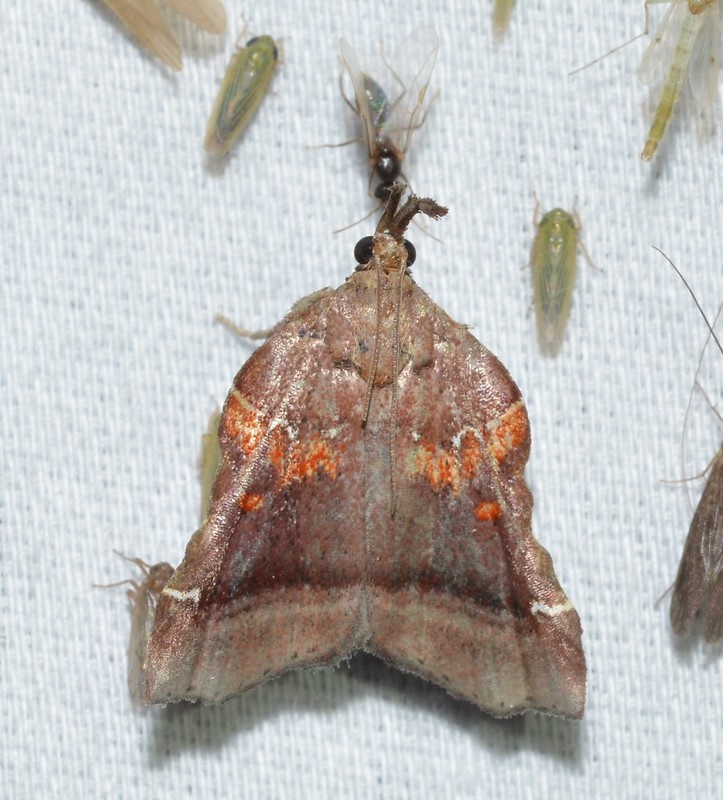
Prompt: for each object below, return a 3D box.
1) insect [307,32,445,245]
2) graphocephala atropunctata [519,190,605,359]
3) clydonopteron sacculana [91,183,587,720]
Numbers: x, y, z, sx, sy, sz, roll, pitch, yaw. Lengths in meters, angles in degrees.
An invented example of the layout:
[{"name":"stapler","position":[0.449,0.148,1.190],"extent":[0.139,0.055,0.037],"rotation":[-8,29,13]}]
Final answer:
[{"name":"insect","position":[0.052,-0.564,3.019],"extent":[0.179,0.384,0.242],"rotation":[-4,37,-10]},{"name":"graphocephala atropunctata","position":[0.392,-0.238,3.033],"extent":[0.128,0.069,0.303],"rotation":[2,97,7]},{"name":"clydonopteron sacculana","position":[0.014,0.122,2.624],"extent":[0.729,0.270,0.802],"rotation":[0,75,2]}]
